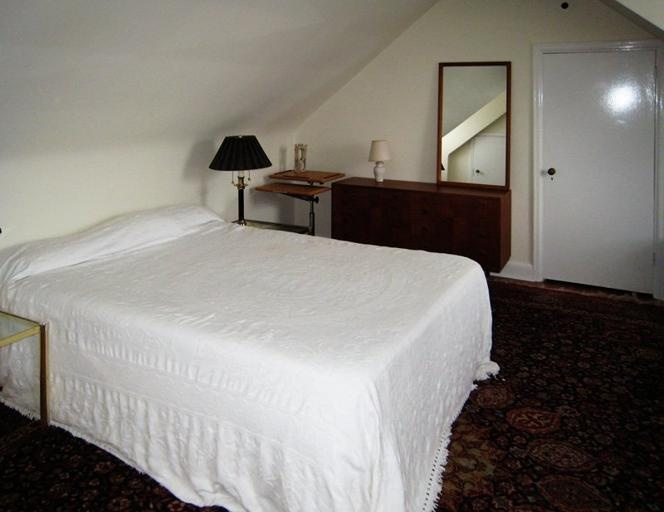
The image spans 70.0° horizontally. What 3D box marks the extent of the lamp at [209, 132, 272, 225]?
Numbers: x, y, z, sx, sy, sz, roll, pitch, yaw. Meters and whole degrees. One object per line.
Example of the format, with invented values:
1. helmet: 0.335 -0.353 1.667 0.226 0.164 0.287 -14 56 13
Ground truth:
1. lamp: -0.782 -0.621 4.014 0.466 0.875 0.532 1 23 -1

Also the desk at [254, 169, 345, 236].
1. desk: -0.352 -0.435 4.764 0.759 0.787 0.789 13 18 41
